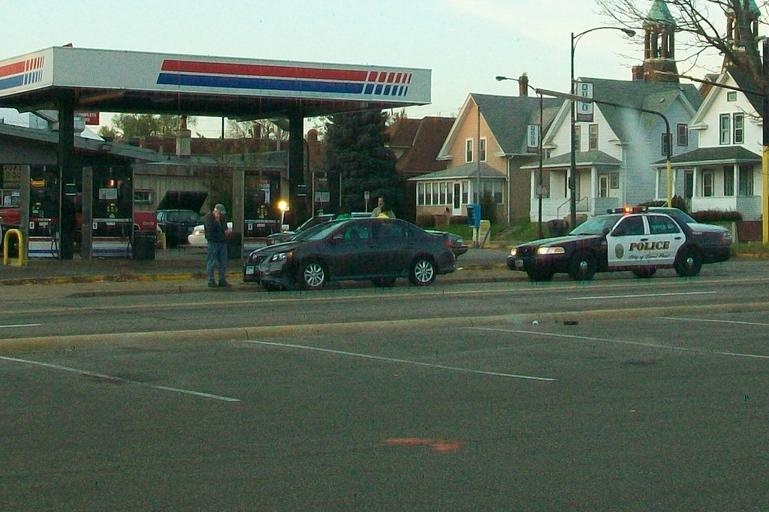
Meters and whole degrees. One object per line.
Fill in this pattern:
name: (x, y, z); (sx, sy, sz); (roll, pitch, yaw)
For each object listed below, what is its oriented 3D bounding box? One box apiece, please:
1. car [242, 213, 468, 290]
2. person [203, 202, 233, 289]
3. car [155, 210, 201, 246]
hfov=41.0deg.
car: (-0.753, 0.007, 26.726); (4.713, 1.571, 2.095); (2, -2, -20)
person: (-4.407, -0.293, 27.134); (0.554, 2.205, 0.777); (-2, 13, -10)
car: (-9.319, -1.294, 46.465); (1.493, 1.146, 2.518); (-1, 5, -14)
